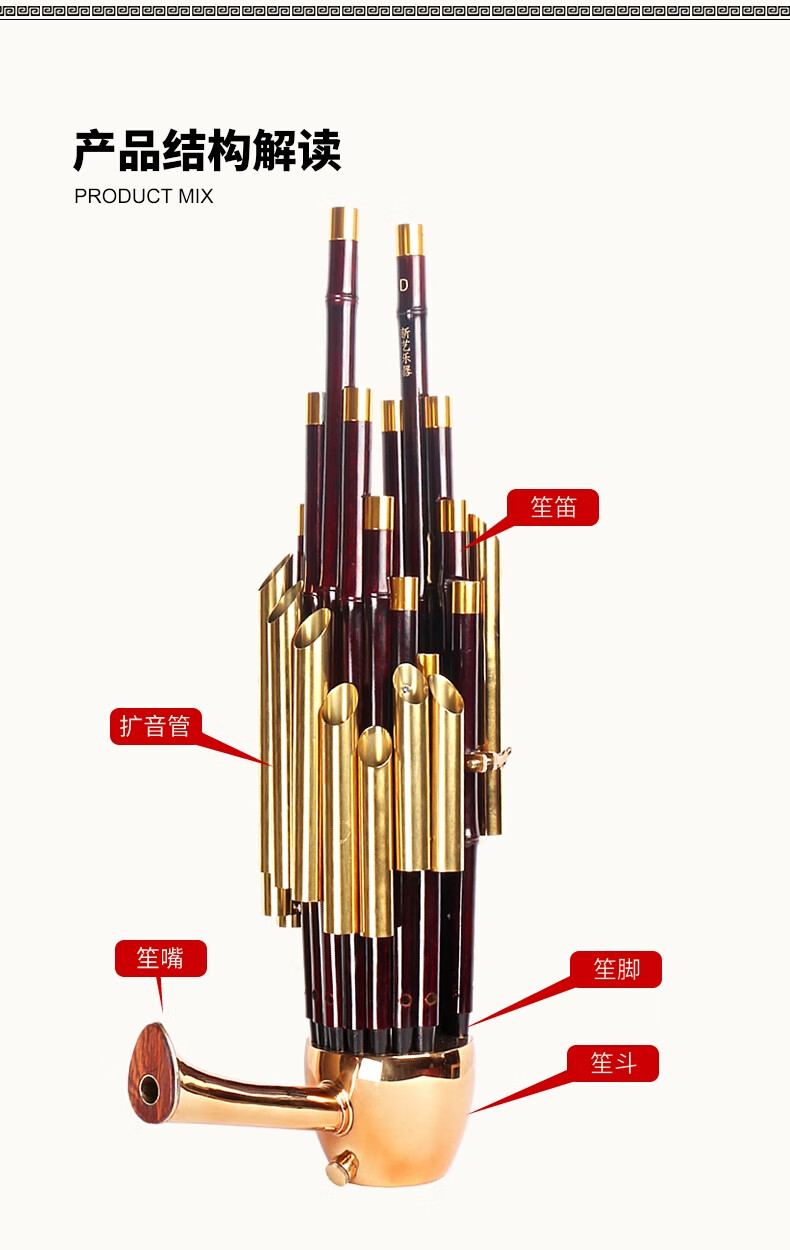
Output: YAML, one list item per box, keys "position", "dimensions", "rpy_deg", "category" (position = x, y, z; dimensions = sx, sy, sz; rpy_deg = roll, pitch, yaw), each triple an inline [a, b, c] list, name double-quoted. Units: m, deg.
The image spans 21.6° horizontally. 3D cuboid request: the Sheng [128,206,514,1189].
- position: [-0.098, 0.116, 3.052]
  dimensions: [0.563, 1.432, 0.443]
  rpy_deg: [-10, -8, 4]
  category: "Sheng"
